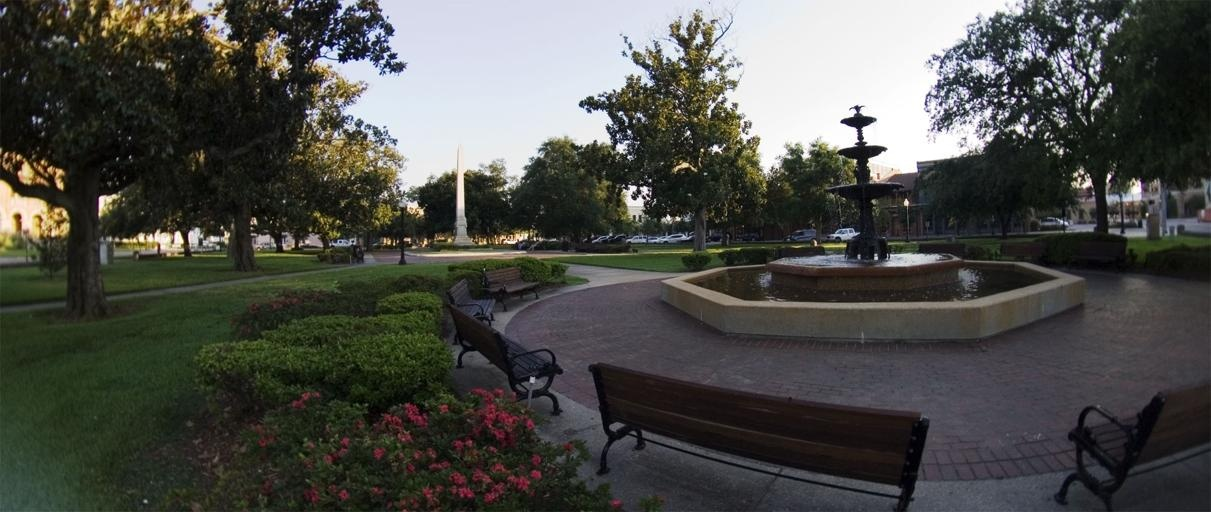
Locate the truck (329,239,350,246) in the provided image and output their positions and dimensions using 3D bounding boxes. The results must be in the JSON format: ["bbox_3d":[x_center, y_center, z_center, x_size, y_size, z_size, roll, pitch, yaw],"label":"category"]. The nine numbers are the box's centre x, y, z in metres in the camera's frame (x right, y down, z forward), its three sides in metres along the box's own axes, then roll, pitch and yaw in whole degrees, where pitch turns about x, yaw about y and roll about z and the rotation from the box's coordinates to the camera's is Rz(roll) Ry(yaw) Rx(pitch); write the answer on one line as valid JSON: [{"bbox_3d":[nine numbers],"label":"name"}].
[{"bbox_3d":[-43.293,-2.280,112.463,1.556,0.986,2.266,1,12,0],"label":"truck"}]
